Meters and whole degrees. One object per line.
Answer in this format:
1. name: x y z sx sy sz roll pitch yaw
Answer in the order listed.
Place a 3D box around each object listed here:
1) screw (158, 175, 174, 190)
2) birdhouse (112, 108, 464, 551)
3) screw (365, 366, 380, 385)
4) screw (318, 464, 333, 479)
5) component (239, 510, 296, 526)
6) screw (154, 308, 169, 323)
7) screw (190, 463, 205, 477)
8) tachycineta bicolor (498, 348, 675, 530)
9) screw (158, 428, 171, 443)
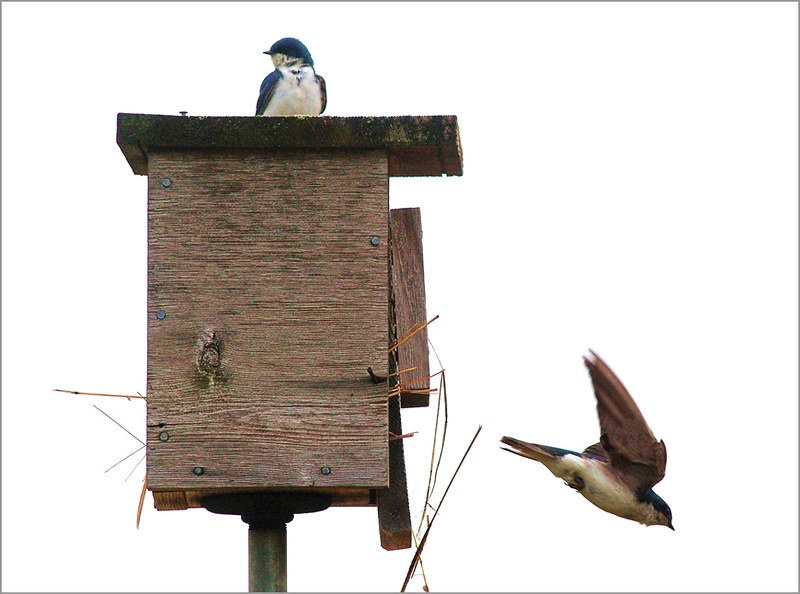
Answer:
1. screw: -0.883 -0.417 7.922 0.048 0.008 0.053 5 -96 -13
2. birdhouse: -0.426 0.041 7.972 1.192 1.203 1.252 -4 -54 -2
3. screw: -0.102 0.304 7.832 0.073 0.036 0.041 36 -64 -27
4. screw: -0.277 0.650 7.766 0.046 0.027 0.028 -4 -54 -3
5. component: -0.500 0.831 7.882 0.194 0.066 0.079 2 -54 -7
6. screw: -0.889 0.077 7.845 0.047 0.034 0.031 -2 -54 -4
7. screw: -0.744 0.645 7.743 0.049 0.033 0.029 -4 -54 -2
8. tachycineta bicolor: 0.794 0.617 8.358 0.850 0.664 0.392 44 -108 -40
9. screw: -0.871 0.520 7.771 0.043 0.036 0.032 6 -55 -10
